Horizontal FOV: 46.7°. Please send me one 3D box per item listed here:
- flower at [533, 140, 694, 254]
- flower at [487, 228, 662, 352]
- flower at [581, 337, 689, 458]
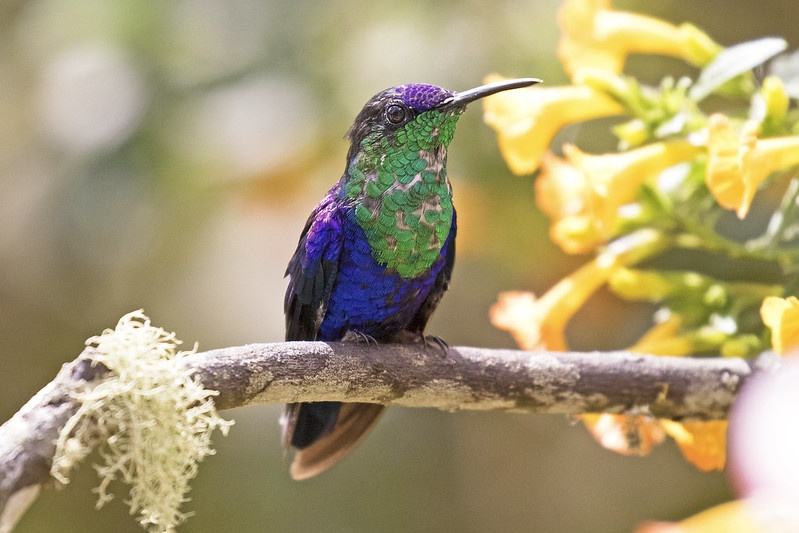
[{"bbox_3d":[0.707,-0.272,3.110,0.506,0.277,0.220,-30,-4,25],"label":"flower"},{"bbox_3d":[0.642,0.041,3.287,0.555,0.341,0.332,-37,13,15],"label":"flower"},{"bbox_3d":[0.735,0.437,3.076,0.396,0.126,0.349,4,-37,0],"label":"flower"}]
